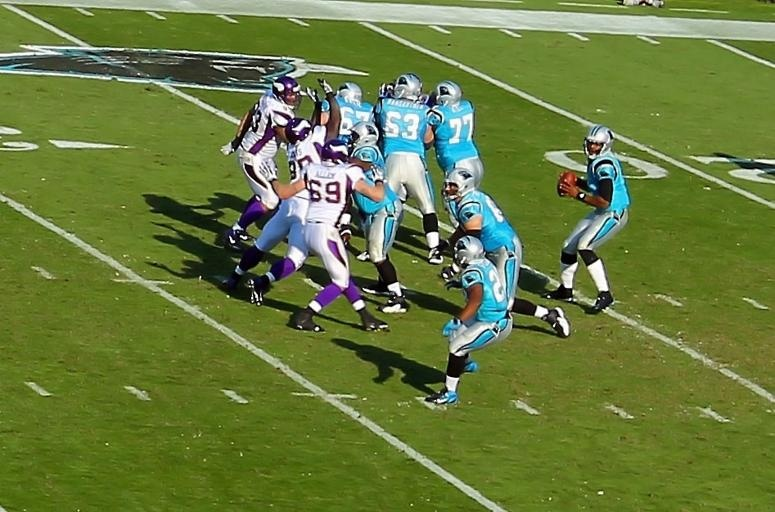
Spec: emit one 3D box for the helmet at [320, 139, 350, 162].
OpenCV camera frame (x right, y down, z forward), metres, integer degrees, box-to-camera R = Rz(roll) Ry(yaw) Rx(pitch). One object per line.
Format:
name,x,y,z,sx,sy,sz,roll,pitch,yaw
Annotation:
helmet,-0.643,-1.330,14.506,0.319,0.273,0.360,2,27,-5

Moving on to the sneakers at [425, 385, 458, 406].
sneakers,0.705,1.679,13.615,0.456,0.115,0.212,3,6,24

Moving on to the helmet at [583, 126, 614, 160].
helmet,3.015,-1.573,16.188,0.376,0.502,0.292,8,32,5

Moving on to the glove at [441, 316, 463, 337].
glove,0.741,0.814,13.149,0.215,0.282,0.109,30,-13,23

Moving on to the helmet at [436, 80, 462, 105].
helmet,0.993,-2.510,17.783,0.492,0.325,0.422,5,7,41

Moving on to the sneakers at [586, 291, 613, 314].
sneakers,3.034,0.658,16.107,0.330,0.331,0.286,9,30,7

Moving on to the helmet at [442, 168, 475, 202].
helmet,0.957,-0.913,14.758,0.387,0.416,0.252,5,32,0

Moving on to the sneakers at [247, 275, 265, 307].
sneakers,-1.730,0.487,15.268,0.246,0.429,0.200,-2,39,9

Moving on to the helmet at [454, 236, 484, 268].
helmet,0.986,-0.035,13.530,0.310,0.336,0.345,-7,30,-19
